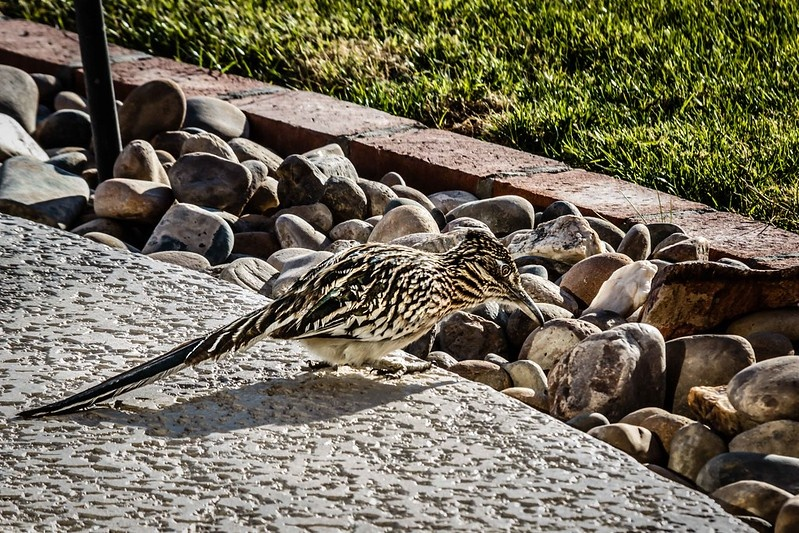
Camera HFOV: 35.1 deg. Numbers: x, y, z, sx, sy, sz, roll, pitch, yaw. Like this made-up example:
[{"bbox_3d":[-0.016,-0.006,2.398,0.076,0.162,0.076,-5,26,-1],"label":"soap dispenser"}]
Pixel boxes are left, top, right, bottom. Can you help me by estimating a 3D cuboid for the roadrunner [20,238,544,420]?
[{"bbox_3d":[-0.441,0.090,4.439,2.245,0.572,0.558,-2,20,-16],"label":"roadrunner"}]
